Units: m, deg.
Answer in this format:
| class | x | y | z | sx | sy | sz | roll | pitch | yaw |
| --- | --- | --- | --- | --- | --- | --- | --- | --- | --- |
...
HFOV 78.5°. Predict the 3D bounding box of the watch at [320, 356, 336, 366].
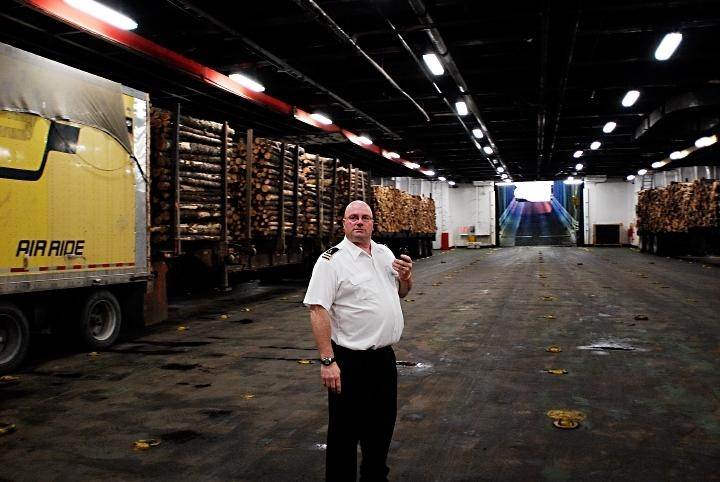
| class | x | y | z | sx | sy | sz | roll | pitch | yaw |
| --- | --- | --- | --- | --- | --- | --- | --- | --- | --- |
| watch | -0.285 | 1.008 | 3.743 | 0.131 | 0.056 | 0.101 | -2 | -10 | -11 |
